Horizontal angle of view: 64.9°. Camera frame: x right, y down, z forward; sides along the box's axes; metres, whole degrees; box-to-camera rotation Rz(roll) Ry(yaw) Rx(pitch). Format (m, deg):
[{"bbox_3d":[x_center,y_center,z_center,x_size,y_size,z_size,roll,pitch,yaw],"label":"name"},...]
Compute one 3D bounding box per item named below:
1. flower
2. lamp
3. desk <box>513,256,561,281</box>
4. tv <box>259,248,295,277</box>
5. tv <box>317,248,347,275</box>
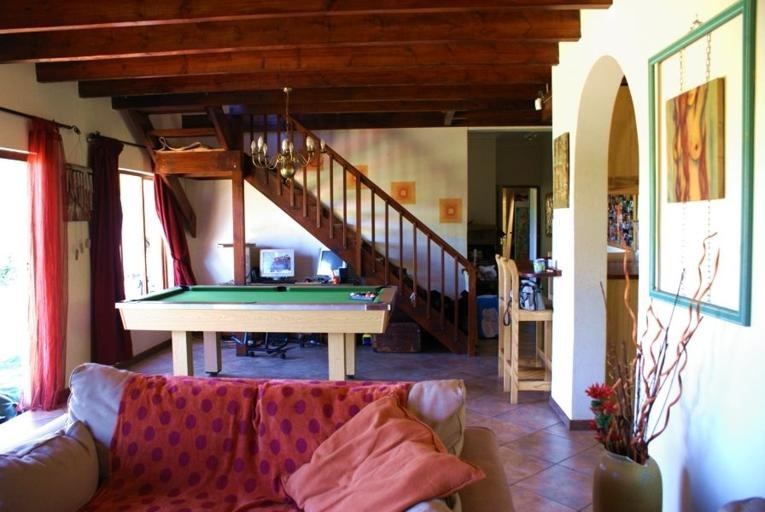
[{"bbox_3d":[1.577,1.056,3.996,0.318,0.509,0.367,-2,8,-11],"label":"flower"},{"bbox_3d":[-1.232,-1.552,7.894,0.936,1.163,2.923,-2,8,-10],"label":"lamp"},{"bbox_3d":[1.676,0.134,6.622,0.427,0.263,1.169,1,8,9],"label":"desk"},{"bbox_3d":[-1.595,0.133,9.170,0.641,0.568,0.361,0,-21,-8],"label":"tv"},{"bbox_3d":[-0.738,0.090,8.968,0.307,0.373,0.040,-14,-19,9],"label":"tv"}]
